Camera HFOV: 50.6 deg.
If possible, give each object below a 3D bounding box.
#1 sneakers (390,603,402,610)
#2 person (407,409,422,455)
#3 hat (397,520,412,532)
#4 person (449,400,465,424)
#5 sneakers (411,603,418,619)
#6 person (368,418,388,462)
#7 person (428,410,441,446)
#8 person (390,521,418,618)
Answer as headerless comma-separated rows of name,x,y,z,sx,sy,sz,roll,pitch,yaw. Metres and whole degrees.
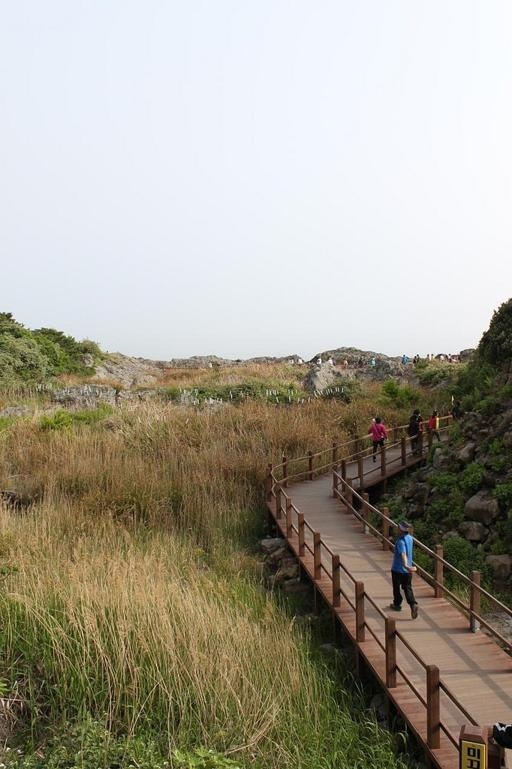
sneakers,1.820,2.831,6.883,0.066,0.068,0.146,-6,14,-24
person,4.829,1.397,16.100,0.376,1.198,1.475,-2,1,16
hat,1.868,1.738,6.675,0.135,0.144,0.243,-2,1,13
person,6.090,0.798,16.093,0.447,0.754,0.485,5,32,12
sneakers,1.970,2.742,6.549,0.076,0.228,0.092,-2,1,-27
person,3.487,1.556,15.183,0.387,1.308,2.415,-2,1,12
person,5.623,1.336,16.799,0.260,0.881,2.013,-1,1,22
person,1.872,2.286,6.798,0.330,1.244,0.645,-2,2,15
